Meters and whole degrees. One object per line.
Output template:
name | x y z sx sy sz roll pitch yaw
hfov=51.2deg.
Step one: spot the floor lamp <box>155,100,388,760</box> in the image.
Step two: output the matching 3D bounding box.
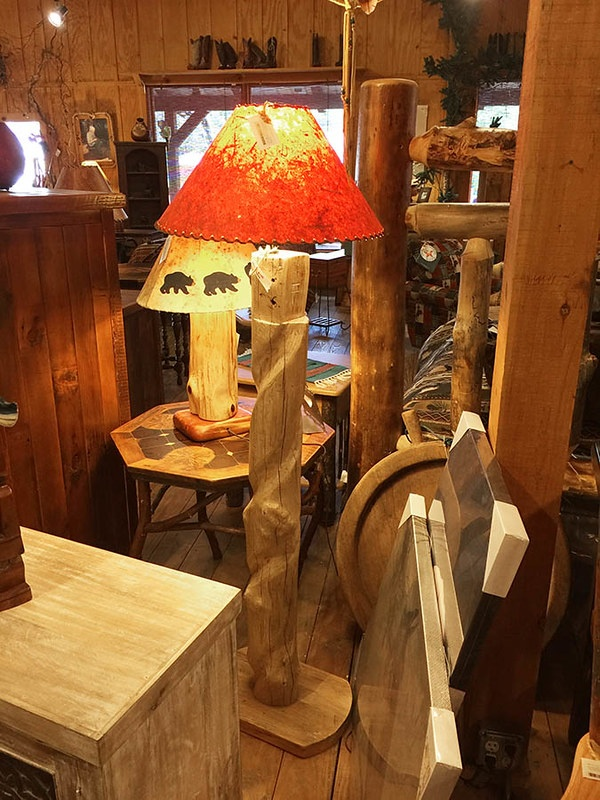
floor lamp | -0.074 0.141 1.496 0.421 1.542 0.365 14 23 37
